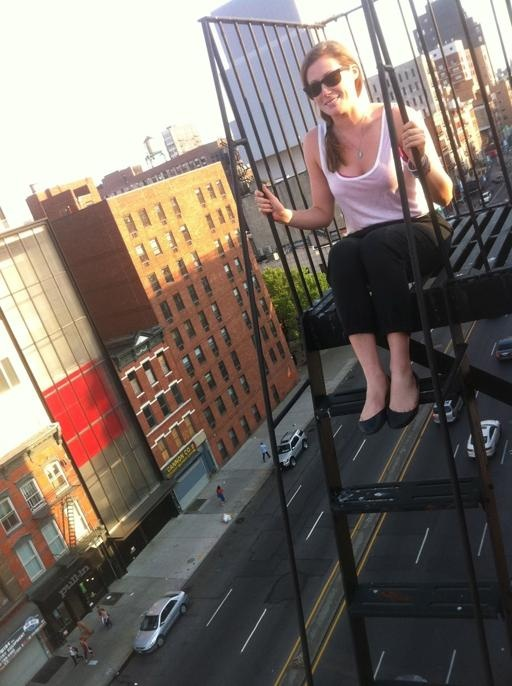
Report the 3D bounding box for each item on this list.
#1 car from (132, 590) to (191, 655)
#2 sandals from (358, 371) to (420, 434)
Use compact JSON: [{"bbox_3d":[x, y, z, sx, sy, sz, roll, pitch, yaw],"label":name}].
[{"bbox_3d":[-3.955,12.027,20.291,1.143,0.907,2.773,-9,35,43],"label":"car"},{"bbox_3d":[0.799,0.392,2.666,0.227,0.060,0.421,-13,48,42],"label":"sandals"}]
